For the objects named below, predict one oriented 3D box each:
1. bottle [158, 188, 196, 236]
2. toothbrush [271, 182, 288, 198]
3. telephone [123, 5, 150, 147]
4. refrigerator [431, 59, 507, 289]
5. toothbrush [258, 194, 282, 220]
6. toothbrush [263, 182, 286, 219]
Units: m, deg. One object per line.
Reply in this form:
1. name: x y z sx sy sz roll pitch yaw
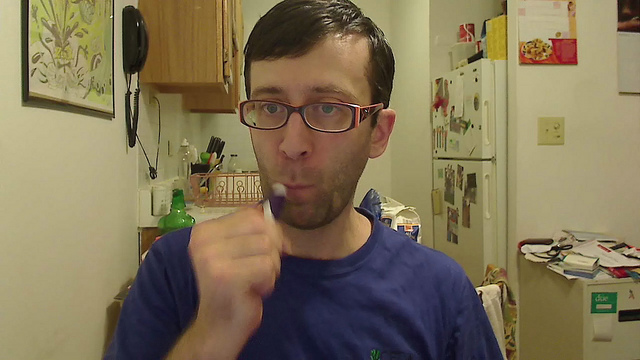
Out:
1. bottle: -0.869 0.190 3.101 0.274 0.358 0.268 1 -3 0
2. toothbrush: -0.182 0.038 2.201 0.054 0.041 0.059 4 -3 -22
3. telephone: -1.181 -0.644 3.217 0.149 0.871 0.218 -2 4 -29
4. refrigerator: 1.243 -0.061 4.256 0.231 1.778 0.799 -2 3 -19
5. toothbrush: -0.212 0.119 2.173 0.064 0.115 0.038 -4 -3 -42
6. toothbrush: -0.196 0.094 2.190 0.082 0.156 0.131 0 3 7
